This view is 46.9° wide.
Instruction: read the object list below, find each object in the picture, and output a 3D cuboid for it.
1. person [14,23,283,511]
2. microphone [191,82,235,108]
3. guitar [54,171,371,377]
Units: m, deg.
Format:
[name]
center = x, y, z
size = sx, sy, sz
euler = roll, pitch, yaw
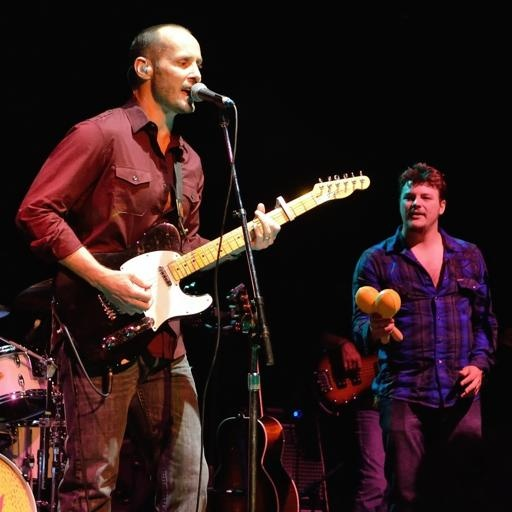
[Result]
[person]
center = -0.519, 0.002, 2.563
size = 0.417, 2.233, 0.915
euler = -4, -5, 36
[microphone]
center = -0.208, -0.706, 2.647
size = 0.095, 0.103, 0.303
euler = 15, 7, -39
[guitar]
center = -0.183, 0.125, 3.151
size = 1.331, 0.455, 0.138
euler = -33, 7, -29
